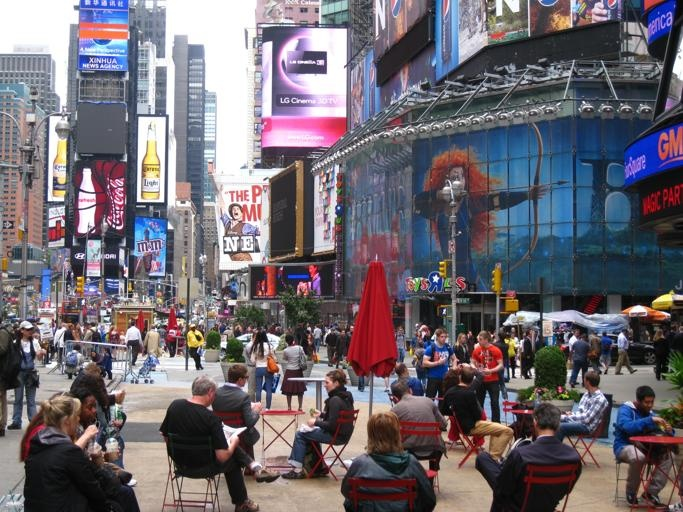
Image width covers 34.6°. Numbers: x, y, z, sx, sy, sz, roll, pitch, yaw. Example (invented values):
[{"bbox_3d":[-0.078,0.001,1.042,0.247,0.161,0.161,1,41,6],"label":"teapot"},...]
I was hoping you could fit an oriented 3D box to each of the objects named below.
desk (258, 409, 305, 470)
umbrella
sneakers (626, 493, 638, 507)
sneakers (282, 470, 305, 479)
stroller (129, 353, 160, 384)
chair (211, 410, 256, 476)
[{"bbox_3d":[-1.635,4.821,28.981,1.117,1.085,5.653,1,-5,-2],"label":"desk"},{"bbox_3d":[0.762,2.065,27.416,0.908,3.470,0.902,-1,4,-12],"label":"umbrella"},{"bbox_3d":[6.500,5.469,24.586,0.274,0.246,0.336,0,-5,14],"label":"sneakers"},{"bbox_3d":[-1.129,5.168,25.871,0.524,0.221,0.203,2,-4,19],"label":"sneakers"},{"bbox_3d":[-7.610,4.297,41.653,1.174,1.516,1.033,1,-4,1],"label":"stroller"},{"bbox_3d":[-2.544,4.290,25.202,1.231,1.392,1.065,5,-1,1],"label":"chair"}]
